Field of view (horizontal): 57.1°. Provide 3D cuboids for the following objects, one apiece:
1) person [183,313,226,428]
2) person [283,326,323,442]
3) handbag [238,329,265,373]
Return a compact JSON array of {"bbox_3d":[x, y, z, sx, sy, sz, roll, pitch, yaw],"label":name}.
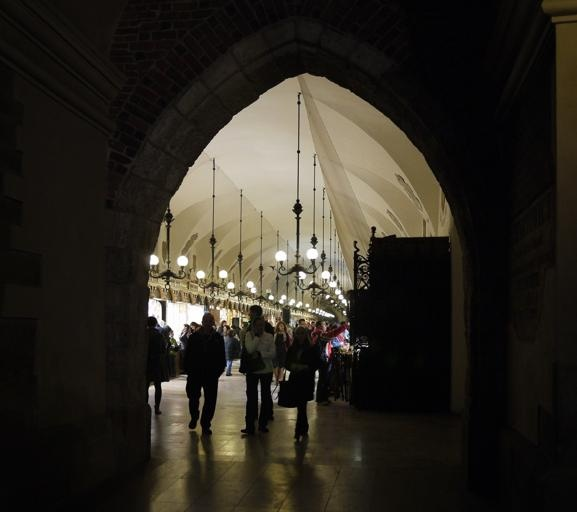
[{"bbox_3d":[-1.230,1.663,7.676,0.574,1.685,0.421,-1,-8,18],"label":"person"},{"bbox_3d":[0.205,1.735,7.429,0.469,1.524,0.827,2,-8,1],"label":"person"},{"bbox_3d":[-0.580,1.410,7.902,0.322,0.666,0.803,4,-9,-13],"label":"handbag"}]
